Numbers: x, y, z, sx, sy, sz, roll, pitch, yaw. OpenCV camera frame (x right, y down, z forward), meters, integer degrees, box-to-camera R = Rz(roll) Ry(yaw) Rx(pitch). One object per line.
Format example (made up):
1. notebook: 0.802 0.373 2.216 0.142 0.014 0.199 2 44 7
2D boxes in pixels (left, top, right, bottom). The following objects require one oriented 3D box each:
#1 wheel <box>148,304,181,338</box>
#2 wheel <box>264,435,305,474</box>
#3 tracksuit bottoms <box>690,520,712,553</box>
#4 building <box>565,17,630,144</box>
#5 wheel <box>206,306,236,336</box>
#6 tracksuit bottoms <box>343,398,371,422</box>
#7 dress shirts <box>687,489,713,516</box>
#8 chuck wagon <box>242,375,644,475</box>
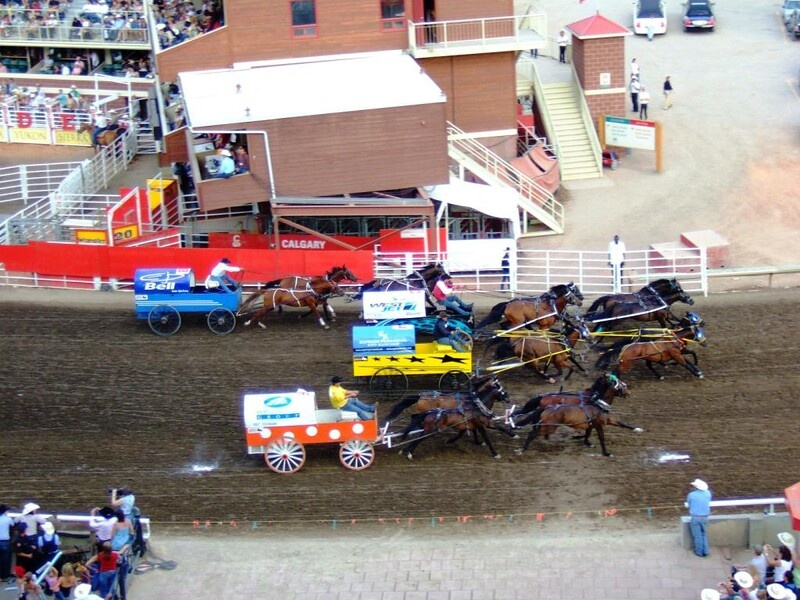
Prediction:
1. wheel: -6.809 0.580 35.434 1.510 0.911 0.294 3 26 8
2. wheel: -2.835 3.763 30.013 0.962 1.009 0.323 -4 20 -2
3. tracksuit bottoms: 6.739 5.241 27.387 0.423 0.898 0.379 -4 20 -1
4. building: 7.911 -9.244 49.117 1.865 5.057 2.216 -22 36 -28
5. wheel: -5.168 0.584 35.440 1.333 0.772 0.319 4 9 1
6. tracksuit bottoms: -0.976 2.657 29.909 0.900 0.225 0.348 17 46 -5
7. dress shirts: 6.671 4.483 27.247 0.566 0.594 0.348 -3 19 2
8. chuck wagon: 1.056 2.766 31.002 9.930 2.353 2.500 -3 16 -5
